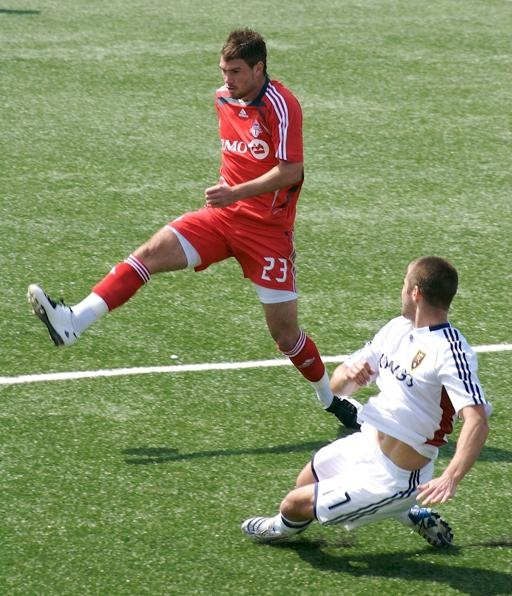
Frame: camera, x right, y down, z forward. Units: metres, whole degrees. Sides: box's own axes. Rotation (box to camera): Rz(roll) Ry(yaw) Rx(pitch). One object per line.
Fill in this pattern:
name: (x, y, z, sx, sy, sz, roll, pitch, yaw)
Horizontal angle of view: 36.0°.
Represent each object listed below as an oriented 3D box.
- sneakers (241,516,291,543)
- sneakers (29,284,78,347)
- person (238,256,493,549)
sneakers: (0.022, 0.858, 2.945, 0.255, 0.056, 0.094, 0, 2, 13)
sneakers: (-0.930, 0.078, 3.590, 0.110, 0.298, 0.204, 8, 17, 29)
person: (0.463, 0.404, 2.751, 0.802, 1.083, 0.507, 12, 20, 40)
